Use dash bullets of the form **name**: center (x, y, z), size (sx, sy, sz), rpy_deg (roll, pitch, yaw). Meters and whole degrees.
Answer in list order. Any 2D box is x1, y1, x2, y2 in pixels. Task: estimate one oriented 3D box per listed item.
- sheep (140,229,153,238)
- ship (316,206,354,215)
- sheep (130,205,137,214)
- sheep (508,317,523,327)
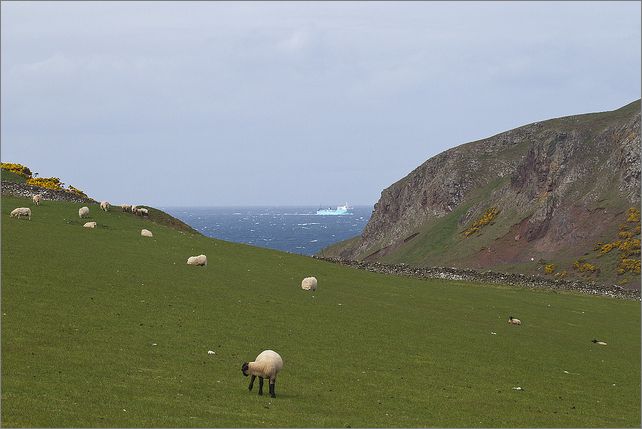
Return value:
- **sheep**: center (-26.719, 2.777, 159.852), size (1.362, 0.825, 1.303), rpy_deg (-2, 7, -35)
- **ship**: center (15.560, -4.641, 976.106), size (23.597, 8.805, 213.917), rpy_deg (1, 0, 4)
- **sheep**: center (-31.282, -0.823, 175.096), size (0.878, 1.101, 2.340), rpy_deg (2, 0, 5)
- **sheep**: center (27.733, 15.002, 148.067), size (1.781, 0.788, 0.907), rpy_deg (9, -5, -39)
